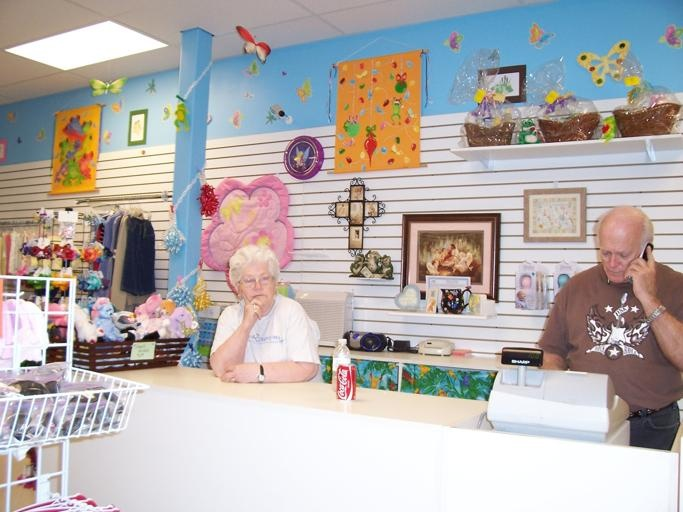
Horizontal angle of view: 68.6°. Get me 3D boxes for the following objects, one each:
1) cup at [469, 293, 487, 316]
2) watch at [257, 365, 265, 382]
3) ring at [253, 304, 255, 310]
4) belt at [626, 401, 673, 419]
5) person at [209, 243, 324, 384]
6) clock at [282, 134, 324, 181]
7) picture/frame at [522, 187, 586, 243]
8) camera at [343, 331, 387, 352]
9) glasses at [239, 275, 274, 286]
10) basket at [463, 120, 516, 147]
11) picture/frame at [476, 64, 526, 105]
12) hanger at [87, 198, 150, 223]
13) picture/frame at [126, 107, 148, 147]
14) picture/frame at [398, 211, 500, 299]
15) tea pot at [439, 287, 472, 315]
[{"bbox_3d":[1.113,0.398,4.075,0.135,0.170,0.105,2,0,14],"label":"cup"},{"bbox_3d":[-0.415,0.616,2.613,0.035,0.092,0.034,2,0,-8],"label":"watch"},{"bbox_3d":[-0.493,0.290,2.830,0.021,0.030,0.009,1,-3,-2],"label":"ring"},{"bbox_3d":[1.544,0.791,2.580,0.126,0.042,0.130,-1,-7,3],"label":"belt"},{"bbox_3d":[-0.418,0.325,2.844,0.623,0.796,0.564,2,0,-8],"label":"person"},{"bbox_3d":[-0.360,-0.977,4.938,0.446,0.467,0.093,-2,1,32],"label":"clock"},{"bbox_3d":[1.719,-0.328,4.001,0.424,0.429,0.032,0,-1,26],"label":"picture/frame"},{"bbox_3d":[0.209,0.746,4.358,0.263,0.111,0.176,6,1,3],"label":"camera"},{"bbox_3d":[-0.490,0.145,2.920,0.182,0.060,0.071,2,0,-10],"label":"glasses"},{"bbox_3d":[1.146,-0.938,3.911,0.279,0.138,0.213,4,10,27],"label":"basket"},{"bbox_3d":[1.340,-1.425,4.160,0.399,0.358,0.041,1,-12,8],"label":"picture/frame"},{"bbox_3d":[-2.510,-0.524,5.715,0.861,0.276,0.315,-1,1,17],"label":"hanger"},{"bbox_3d":[-2.428,-1.543,5.984,0.318,0.455,0.074,2,0,33],"label":"picture/frame"},{"bbox_3d":[0.963,0.000,4.303,0.723,0.666,0.056,1,-1,21],"label":"picture/frame"},{"bbox_3d":[0.936,0.381,4.117,0.229,0.229,0.177,0,-4,32],"label":"tea pot"}]
